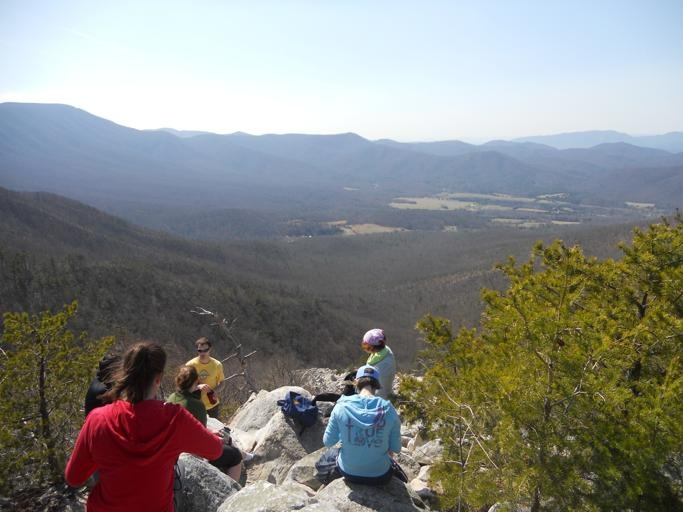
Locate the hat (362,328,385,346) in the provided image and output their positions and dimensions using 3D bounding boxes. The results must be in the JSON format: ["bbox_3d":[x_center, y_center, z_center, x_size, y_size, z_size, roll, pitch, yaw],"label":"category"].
[{"bbox_3d":[0.582,1.460,10.085,0.374,0.274,0.754,-5,-2,1],"label":"hat"}]

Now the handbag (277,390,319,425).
[{"bbox_3d":[-0.796,2.871,10.379,0.678,0.309,0.560,27,2,-34],"label":"handbag"}]

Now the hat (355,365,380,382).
[{"bbox_3d":[0.408,1.752,8.254,0.318,0.256,0.552,2,-14,9],"label":"hat"}]

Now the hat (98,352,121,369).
[{"bbox_3d":[-3.201,1.447,7.535,0.289,0.137,0.224,-6,12,30],"label":"hat"}]
